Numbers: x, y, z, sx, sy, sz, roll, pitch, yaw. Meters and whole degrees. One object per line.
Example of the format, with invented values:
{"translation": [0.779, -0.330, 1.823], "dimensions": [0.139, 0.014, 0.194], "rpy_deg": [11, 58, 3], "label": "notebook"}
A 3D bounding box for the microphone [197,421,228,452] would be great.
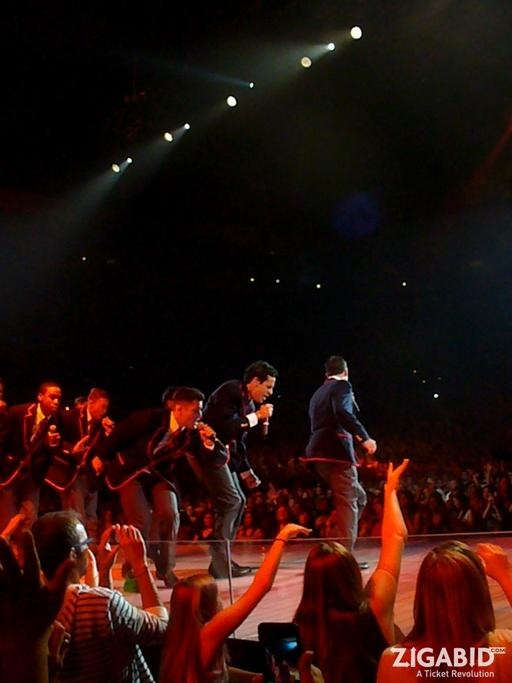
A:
{"translation": [-0.290, 0.649, 3.649], "dimensions": [0.078, 0.170, 0.231], "rpy_deg": [-45, -14, -6], "label": "microphone"}

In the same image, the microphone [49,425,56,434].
{"translation": [-1.890, 0.818, 4.885], "dimensions": [0.015, 0.067, 0.063], "rpy_deg": [-50, -15, -51], "label": "microphone"}

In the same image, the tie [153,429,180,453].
{"translation": [-0.617, 0.695, 3.622], "dimensions": [0.222, 0.055, 0.063], "rpy_deg": [-34, 10, -21], "label": "tie"}
